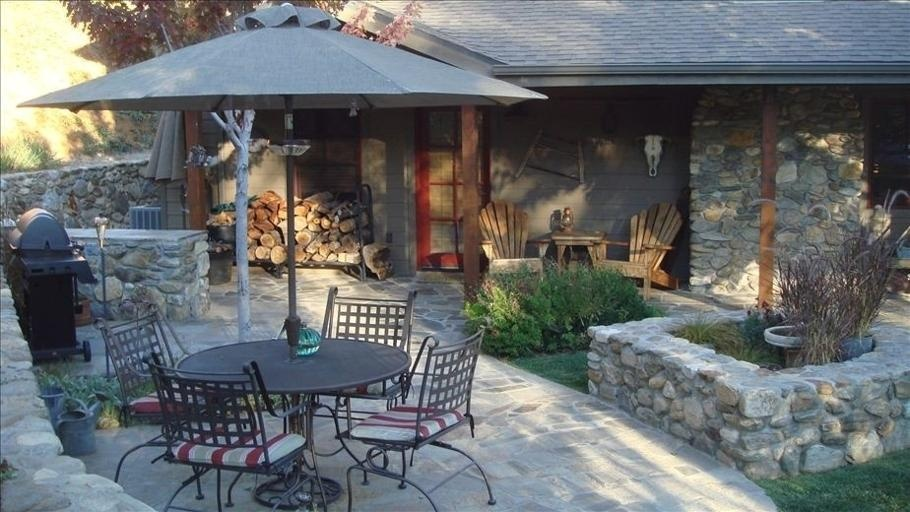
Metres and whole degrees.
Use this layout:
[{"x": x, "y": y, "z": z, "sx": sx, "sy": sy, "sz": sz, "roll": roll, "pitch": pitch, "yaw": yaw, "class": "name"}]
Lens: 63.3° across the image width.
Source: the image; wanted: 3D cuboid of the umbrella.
[{"x": -1.741, "y": -0.318, "z": 8.708, "sx": 4.363, "sy": 2.904, "sz": 4.212, "roll": -1, "pitch": 3, "yaw": -7, "class": "umbrella"}]

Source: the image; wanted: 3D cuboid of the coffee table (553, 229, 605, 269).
[{"x": 2.003, "y": -0.154, "z": 12.089, "sx": 0.685, "sy": 0.665, "sz": 0.642, "roll": 0, "pitch": 3, "yaw": 5, "class": "coffee table"}]

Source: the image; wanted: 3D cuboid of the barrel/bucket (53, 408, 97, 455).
[{"x": -3.829, "y": 1.827, "z": 7.574, "sx": 0.469, "sy": 0.474, "sz": 0.302, "roll": -5, "pitch": 13, "yaw": -28, "class": "barrel/bucket"}]

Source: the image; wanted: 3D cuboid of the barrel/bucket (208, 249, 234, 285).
[{"x": -4.037, "y": 0.208, "z": 12.714, "sx": 0.511, "sy": 0.526, "sz": 0.544, "roll": -1, "pitch": 4, "yaw": 0, "class": "barrel/bucket"}]

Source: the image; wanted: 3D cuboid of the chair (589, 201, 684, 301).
[{"x": 2.679, "y": -0.133, "z": 12.112, "sx": 1.226, "sy": 1.665, "sz": 1.746, "roll": 8, "pitch": 11, "yaw": 43, "class": "chair"}]

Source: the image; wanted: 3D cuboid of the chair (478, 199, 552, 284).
[{"x": 1.141, "y": -0.324, "z": 11.807, "sx": 1.122, "sy": 1.630, "sz": 1.182, "roll": -2, "pitch": 1, "yaw": -16, "class": "chair"}]
